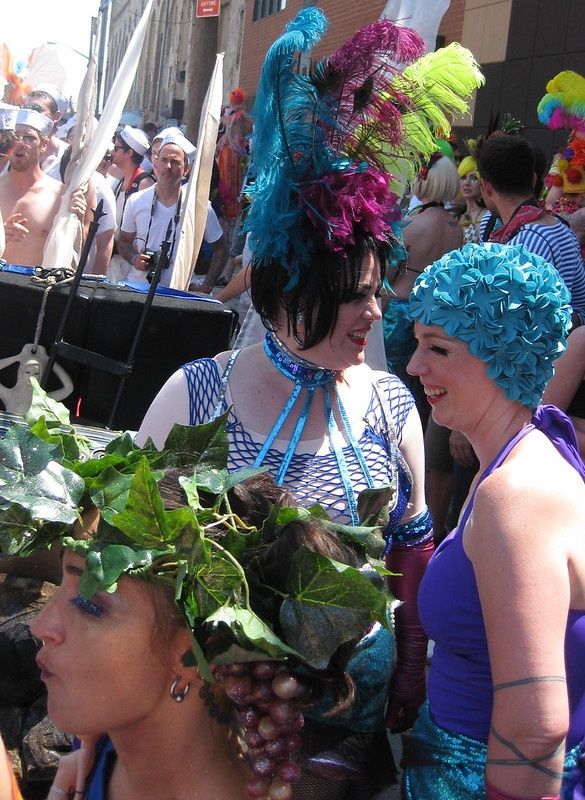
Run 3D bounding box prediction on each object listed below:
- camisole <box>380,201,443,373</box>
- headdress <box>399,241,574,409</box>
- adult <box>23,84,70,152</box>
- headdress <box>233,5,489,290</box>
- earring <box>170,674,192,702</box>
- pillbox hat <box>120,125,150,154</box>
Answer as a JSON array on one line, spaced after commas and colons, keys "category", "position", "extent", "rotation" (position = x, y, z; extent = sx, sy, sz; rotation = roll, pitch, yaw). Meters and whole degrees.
[{"category": "camisole", "position": [0.643, -0.516, 4.266], "extent": [0.277, 0.774, 0.238], "rotation": [4, 28, 13]}, {"category": "headdress", "position": [0.408, -0.165, 1.477], "extent": [0.310, 0.277, 0.309], "rotation": [10, 10, 33]}, {"category": "adult", "position": [-3.027, -3.430, 8.829], "extent": [0.626, 0.810, 0.567], "rotation": [10, 16, 0]}, {"category": "headdress", "position": [0.149, -0.591, 1.722], "extent": [0.560, 0.669, 0.338], "rotation": [12, 3, -42]}, {"category": "earring", "position": [-0.165, 0.418, 1.064], "extent": [0.011, 0.036, 0.038], "rotation": [10, -18, -7]}, {"category": "pillbox hat", "position": [-1.881, -3.087, 8.761], "extent": [0.377, 0.186, 0.481], "rotation": [35, 9, -6]}]
